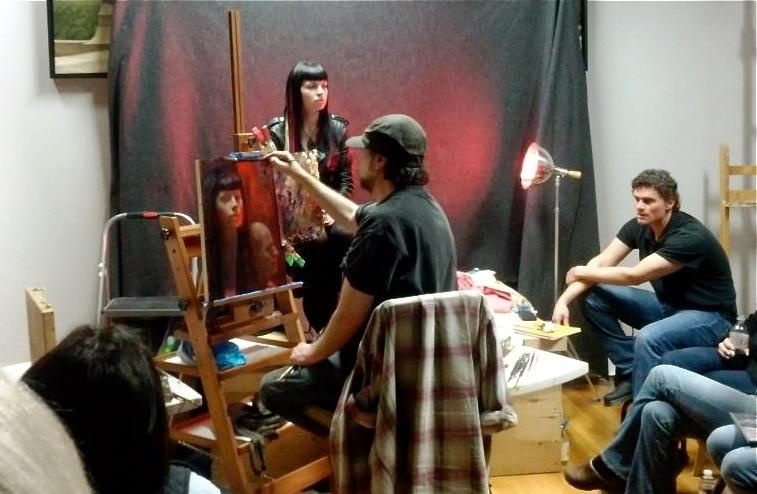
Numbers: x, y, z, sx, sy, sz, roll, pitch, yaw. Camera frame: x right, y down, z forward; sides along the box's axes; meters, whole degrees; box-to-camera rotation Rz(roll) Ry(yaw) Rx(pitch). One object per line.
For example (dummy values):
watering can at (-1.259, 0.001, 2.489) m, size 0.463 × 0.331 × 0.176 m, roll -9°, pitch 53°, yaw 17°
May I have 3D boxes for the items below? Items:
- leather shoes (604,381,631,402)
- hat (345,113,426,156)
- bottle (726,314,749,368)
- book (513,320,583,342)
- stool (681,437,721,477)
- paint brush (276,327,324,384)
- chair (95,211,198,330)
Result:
leather shoes at (1.506, 0.909, 4.063) m, size 0.209 × 0.085 × 0.086 m, roll -9°, pitch -6°, yaw -21°
hat at (0.040, -0.467, 2.835) m, size 0.286 × 0.127 × 0.204 m, roll 9°, pitch 6°, yaw 14°
bottle at (1.890, 0.485, 3.367) m, size 0.113 × 0.299 × 0.247 m, roll -2°, pitch 6°, yaw 28°
book at (0.986, 0.488, 3.804) m, size 0.209 × 0.048 × 0.214 m, roll 2°, pitch 3°, yaw 36°
stool at (1.764, 1.143, 3.520) m, size 0.147 × 0.208 × 0.131 m, roll 12°, pitch -18°, yaw -20°
paint brush at (-0.375, 0.533, 3.150) m, size 0.083 × 0.048 × 0.474 m, roll 16°, pitch 18°, yaw 10°
chair at (-1.258, 0.078, 3.554) m, size 0.524 × 0.513 × 0.539 m, roll 2°, pitch 5°, yaw -10°
